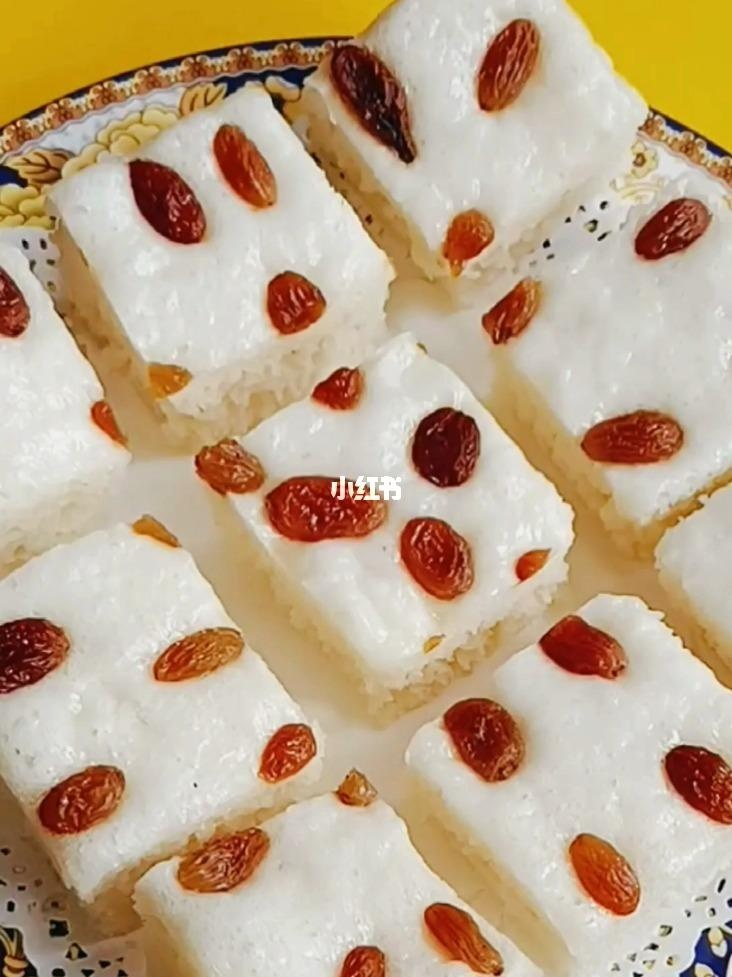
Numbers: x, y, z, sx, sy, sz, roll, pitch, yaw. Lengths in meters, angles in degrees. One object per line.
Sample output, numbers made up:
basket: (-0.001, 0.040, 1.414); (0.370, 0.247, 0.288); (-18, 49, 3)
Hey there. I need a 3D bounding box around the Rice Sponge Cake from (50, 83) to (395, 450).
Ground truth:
Rice Sponge Cake: (-0.293, -0.326, 2.074); (0.660, 0.439, 0.627); (-31, 90, -12)
